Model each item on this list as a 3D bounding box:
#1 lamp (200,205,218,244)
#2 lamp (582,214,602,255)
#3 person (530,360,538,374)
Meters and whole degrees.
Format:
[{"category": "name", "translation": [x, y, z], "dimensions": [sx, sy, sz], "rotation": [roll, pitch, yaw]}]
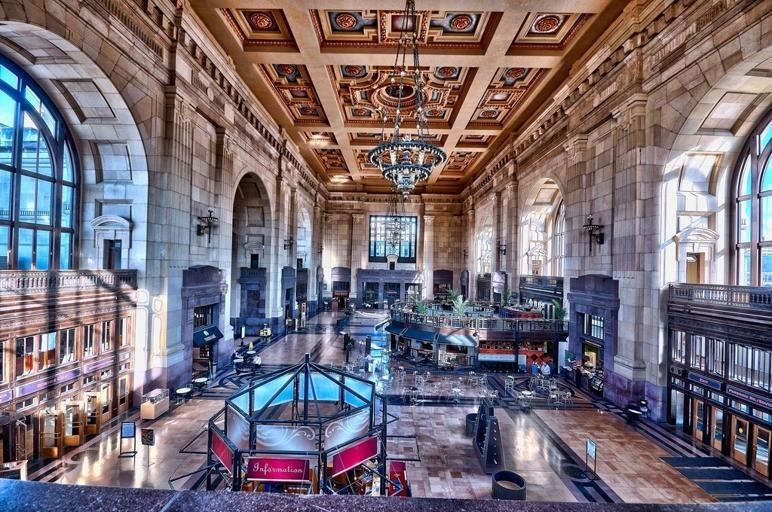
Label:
[{"category": "lamp", "translation": [-7.993, -1.372, 23.677], "dimensions": [0.496, 1.578, 1.342], "rotation": [1, -2, 3]}, {"category": "lamp", "translation": [9.246, -1.005, 23.555], "dimensions": [0.547, 1.859, 1.188], "rotation": [1, -2, -4]}, {"category": "person", "translation": [7.021, 5.258, 25.036], "dimensions": [0.464, 0.810, 0.745], "rotation": [0, -9, 12]}]
